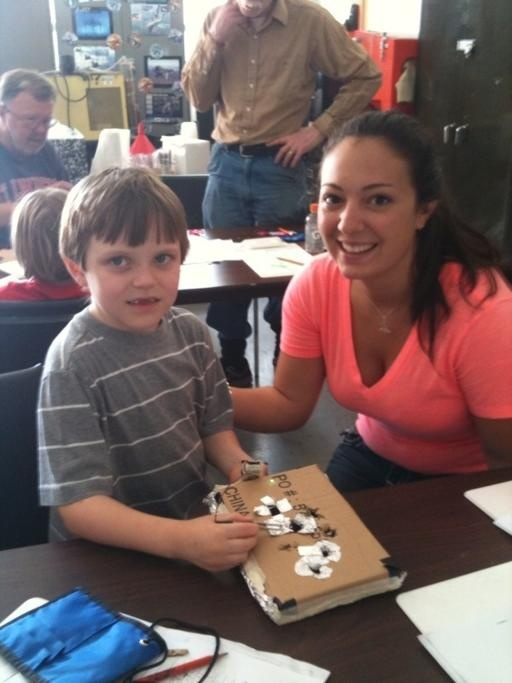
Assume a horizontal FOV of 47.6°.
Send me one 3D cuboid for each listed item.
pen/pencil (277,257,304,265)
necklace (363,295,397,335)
[{"bbox_3d":[0.120,-0.275,1.992,0.106,0.011,0.012,17,-12,41],"label":"pen/pencil"},{"bbox_3d":[0.243,-0.052,1.122,0.085,0.104,0.010,1,25,38],"label":"necklace"}]
